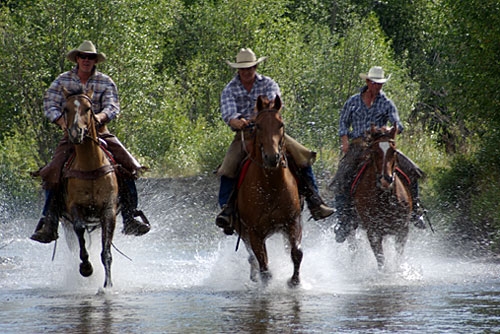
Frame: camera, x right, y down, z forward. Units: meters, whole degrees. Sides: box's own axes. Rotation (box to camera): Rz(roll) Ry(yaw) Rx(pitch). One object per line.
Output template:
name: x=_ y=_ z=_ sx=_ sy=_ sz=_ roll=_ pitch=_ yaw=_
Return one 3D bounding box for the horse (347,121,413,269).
horse: x=3.996 y=0.905 z=29.564 sx=1.749 sy=4.256 sz=1.064 roll=0 pitch=3 yaw=6

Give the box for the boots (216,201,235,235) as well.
boots: x=-0.833 y=1.668 z=28.970 sx=0.361 sy=0.711 sz=1.035 roll=3 pitch=-24 yaw=5

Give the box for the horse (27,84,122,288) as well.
horse: x=-4.719 y=0.562 z=28.868 sx=1.717 sy=5.903 sz=1.714 roll=-1 pitch=4 yaw=-10

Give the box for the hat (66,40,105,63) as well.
hat: x=-5.085 y=-3.696 z=30.150 sx=0.755 sy=0.365 sz=0.879 roll=2 pitch=-20 yaw=-13

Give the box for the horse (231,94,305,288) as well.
horse: x=0.468 y=0.710 z=28.063 sx=1.791 sy=5.504 sz=1.544 roll=2 pitch=4 yaw=31
